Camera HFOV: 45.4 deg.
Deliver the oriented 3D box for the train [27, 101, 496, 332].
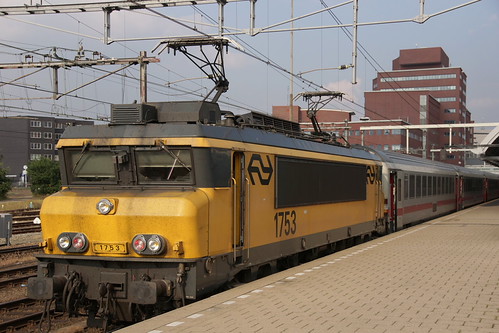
[{"bbox_3d":[1.937,0.853,23.344,4.081,4.780,20.917,1,2,31],"label":"train"}]
